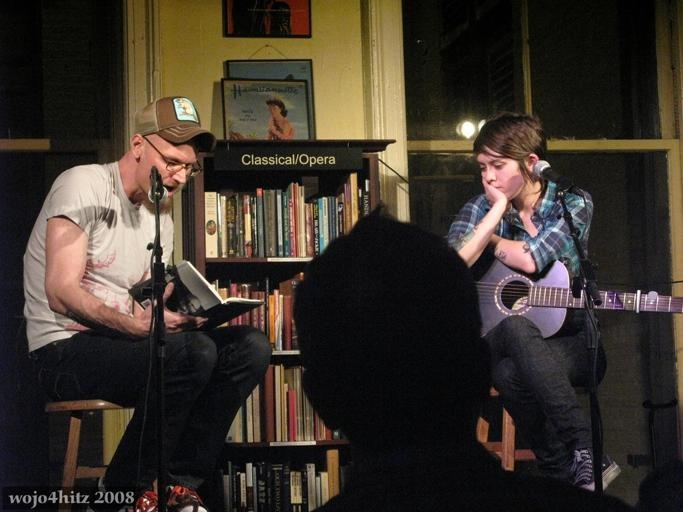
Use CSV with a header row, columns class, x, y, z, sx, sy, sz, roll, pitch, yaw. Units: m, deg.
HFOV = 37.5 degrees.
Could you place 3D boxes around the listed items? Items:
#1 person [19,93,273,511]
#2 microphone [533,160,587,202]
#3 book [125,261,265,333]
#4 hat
class,x,y,z,sx,sy,sz,roll,pitch,yaw
person,-0.914,0.162,4.554,0.967,1.692,0.696,1,0,27
microphone,1.101,-0.381,5.083,0.105,0.324,0.109,-40,-20,-10
book,-0.621,0.176,4.334,0.303,0.167,0.418,-17,-32,30
hat,-0.771,-0.616,4.675,0.334,0.189,0.218,6,1,35
